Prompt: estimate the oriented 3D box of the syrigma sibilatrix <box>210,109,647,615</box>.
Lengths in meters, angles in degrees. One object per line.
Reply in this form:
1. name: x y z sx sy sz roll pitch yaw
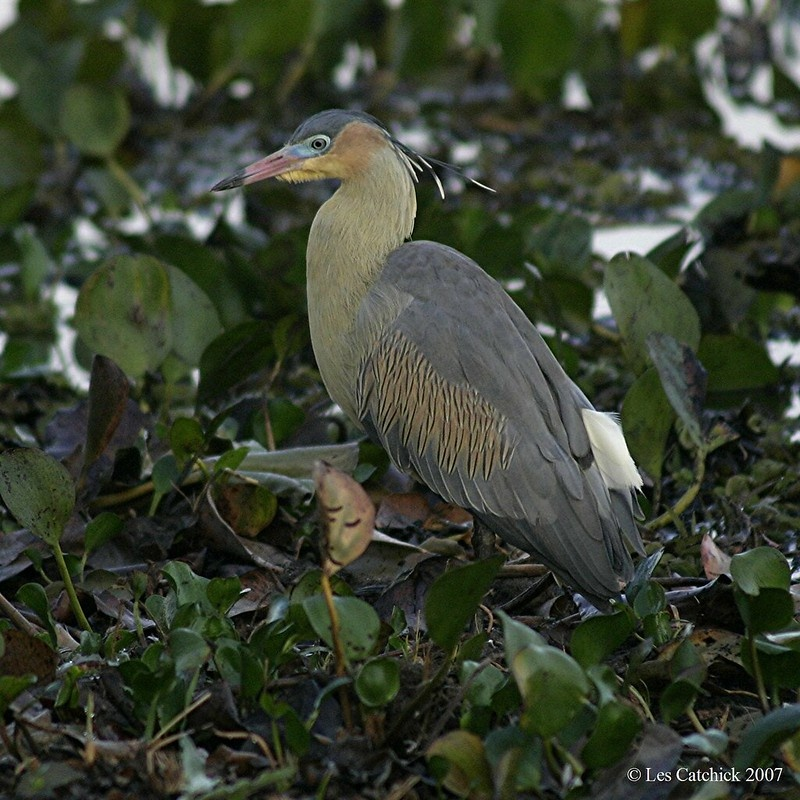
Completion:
1. syrigma sibilatrix: 0.167 -0.205 3.104 1.421 0.971 0.364 23 17 41
